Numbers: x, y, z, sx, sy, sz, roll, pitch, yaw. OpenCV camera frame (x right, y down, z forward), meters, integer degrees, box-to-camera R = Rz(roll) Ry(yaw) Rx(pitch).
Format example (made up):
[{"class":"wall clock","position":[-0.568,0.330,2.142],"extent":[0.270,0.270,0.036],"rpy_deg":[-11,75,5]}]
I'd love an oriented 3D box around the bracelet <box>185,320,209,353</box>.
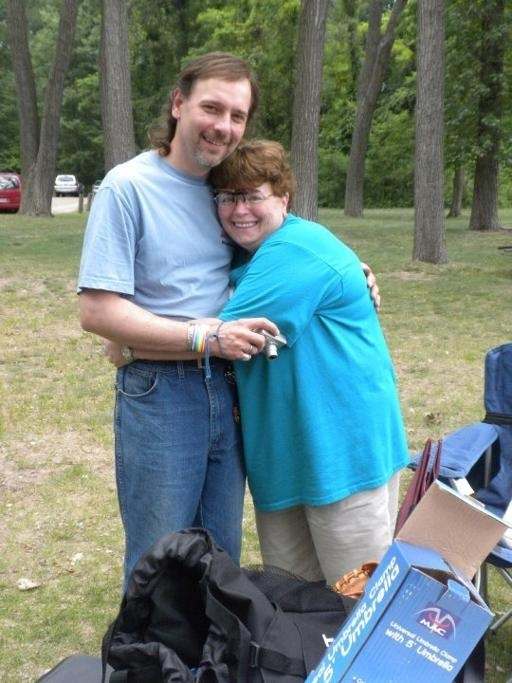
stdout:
[{"class":"bracelet","position":[-0.181,-0.010,2.558],"extent":[0.062,0.098,0.064],"rpy_deg":[1,6,-4]}]

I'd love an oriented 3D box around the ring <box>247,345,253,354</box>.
[{"class":"ring","position":[-0.019,0.022,2.500],"extent":[0.003,0.014,0.014],"rpy_deg":[5,-36,46]}]

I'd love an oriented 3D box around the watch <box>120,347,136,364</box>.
[{"class":"watch","position":[-0.414,0.042,2.668],"extent":[0.016,0.044,0.047],"rpy_deg":[-14,-2,29]}]

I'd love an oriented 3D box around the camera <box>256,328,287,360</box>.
[{"class":"camera","position":[0.047,0.012,2.525],"extent":[0.056,0.036,0.100],"rpy_deg":[-27,1,16]}]
